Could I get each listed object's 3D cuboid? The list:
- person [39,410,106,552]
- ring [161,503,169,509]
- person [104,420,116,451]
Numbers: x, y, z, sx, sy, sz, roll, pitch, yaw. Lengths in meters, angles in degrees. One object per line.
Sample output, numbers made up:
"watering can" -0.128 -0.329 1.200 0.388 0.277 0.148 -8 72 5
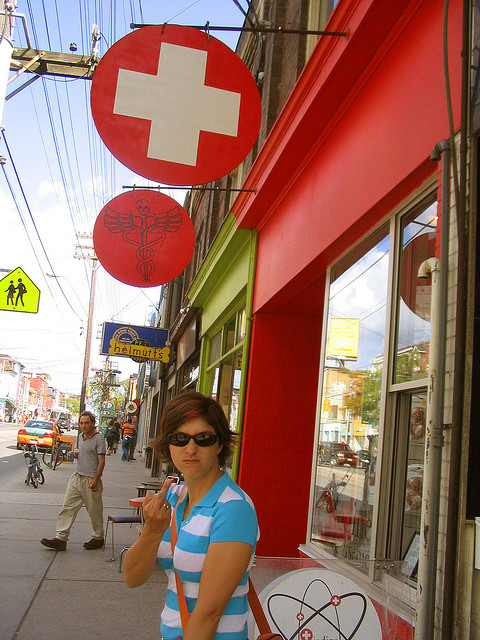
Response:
"person" -2.383 2.464 6.886 0.824 1.991 0.799 8 -11 -15
"ring" -0.174 0.435 1.041 0.010 0.004 0.008 18 -10 9
"person" -8.110 7.256 28.126 0.585 1.870 1.400 7 -11 -9
